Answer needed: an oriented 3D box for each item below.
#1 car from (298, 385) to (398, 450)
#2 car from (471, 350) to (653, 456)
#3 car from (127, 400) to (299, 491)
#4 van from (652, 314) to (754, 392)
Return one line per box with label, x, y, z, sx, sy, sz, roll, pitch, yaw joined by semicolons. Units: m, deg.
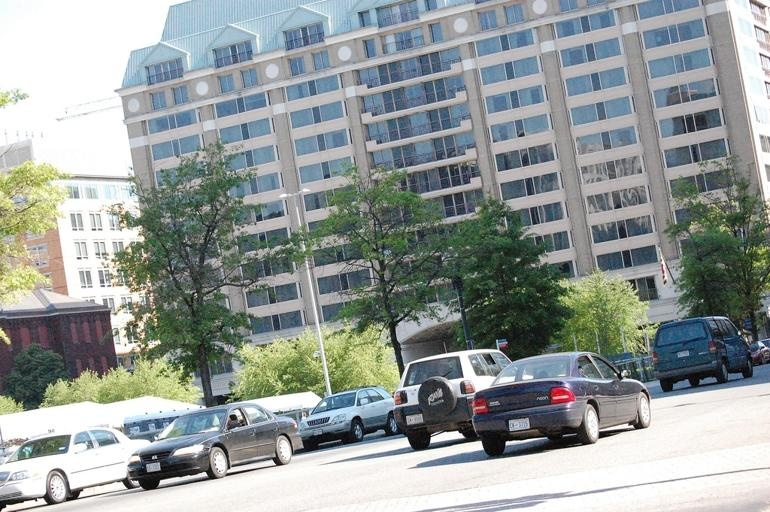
car;-1.298;8.024;56.708;2.735;2.044;4.758;-12;-13;32
car;6.706;5.352;41.922;3.834;3.361;9.399;-6;-6;38
car;-6.862;7.995;47.279;3.895;3.272;9.761;-4;-6;19
van;15.315;4.617;53.320;2.977;3.172;7.373;-6;-6;37
